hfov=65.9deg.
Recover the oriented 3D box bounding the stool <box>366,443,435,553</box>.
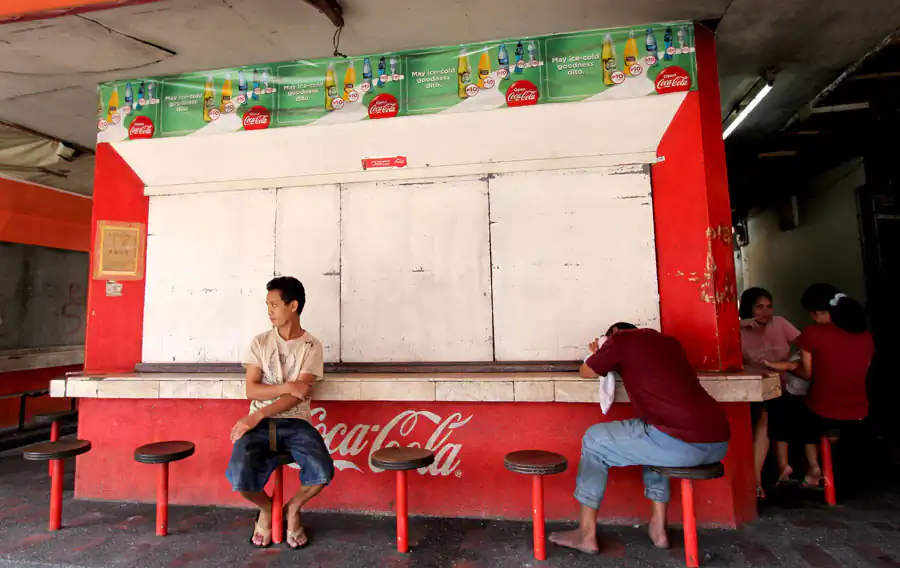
[{"bbox_3d":[-0.455,2.043,6.647,0.577,0.939,0.621,-2,-3,-5],"label":"stool"}]

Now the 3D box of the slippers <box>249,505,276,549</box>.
[{"bbox_3d":[-1.802,2.326,6.672,0.193,0.096,0.480,10,21,-12],"label":"slippers"}]

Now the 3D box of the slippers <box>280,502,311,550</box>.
[{"bbox_3d":[-1.476,2.304,6.652,0.256,0.393,0.241,-1,-3,-13],"label":"slippers"}]

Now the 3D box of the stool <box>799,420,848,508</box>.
[{"bbox_3d":[3.891,1.795,7.147,0.321,0.877,0.402,-4,-4,31],"label":"stool"}]

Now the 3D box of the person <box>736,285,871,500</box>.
[{"bbox_3d":[3.710,1.062,7.199,1.208,2.109,0.585,-3,-3,21],"label":"person"}]

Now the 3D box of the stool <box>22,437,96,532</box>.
[{"bbox_3d":[-3.898,1.983,6.812,0.567,0.842,0.510,-4,-4,40],"label":"stool"}]

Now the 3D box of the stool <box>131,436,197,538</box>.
[{"bbox_3d":[-2.819,1.994,6.835,0.510,0.884,0.765,0,-3,-23],"label":"stool"}]
